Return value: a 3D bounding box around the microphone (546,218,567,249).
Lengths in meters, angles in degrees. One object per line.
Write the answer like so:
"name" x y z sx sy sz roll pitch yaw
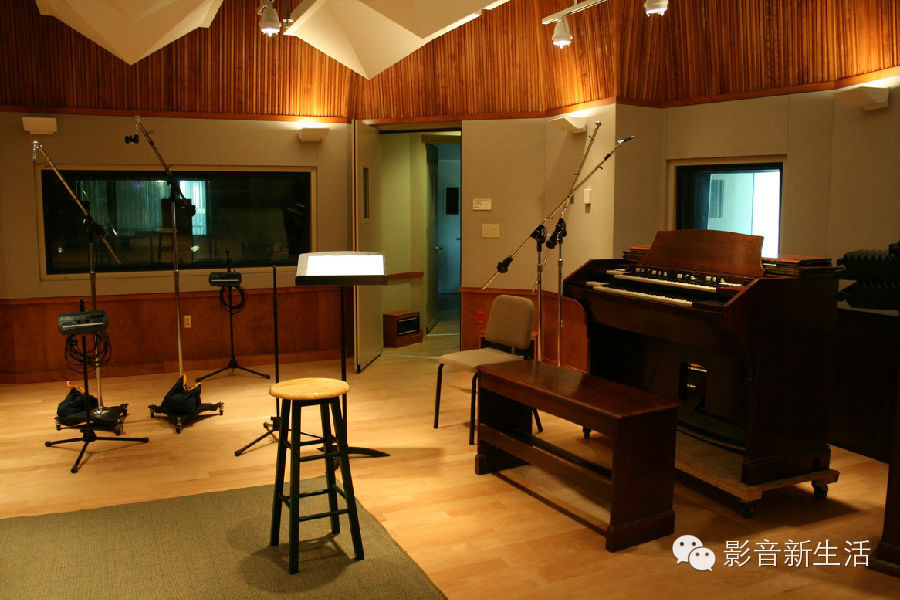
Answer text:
"microphone" 1.105 -0.681 7.431 0.112 0.272 0.301 27 34 -16

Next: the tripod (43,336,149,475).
"tripod" -3.186 1.123 6.411 0.939 0.406 0.742 8 14 43

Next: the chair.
"chair" 0.257 0.563 6.605 1.053 1.363 1.097 12 -6 18

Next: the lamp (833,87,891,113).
"lamp" 3.431 -1.678 6.013 0.203 0.190 0.415 -7 11 -30

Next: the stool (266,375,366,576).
"stool" -0.940 1.200 4.927 0.703 1.149 0.744 1 5 34

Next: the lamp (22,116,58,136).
"lamp" -4.485 -1.889 7.810 0.336 0.185 0.113 -4 10 -15

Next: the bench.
"bench" 0.920 1.123 5.677 0.725 0.960 1.714 -5 9 -29

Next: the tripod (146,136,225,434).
"tripod" -2.855 -0.301 7.351 0.694 2.764 1.986 -6 10 -24

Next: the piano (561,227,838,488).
"piano" 2.014 0.366 6.139 1.129 1.880 2.103 -1 6 -21
